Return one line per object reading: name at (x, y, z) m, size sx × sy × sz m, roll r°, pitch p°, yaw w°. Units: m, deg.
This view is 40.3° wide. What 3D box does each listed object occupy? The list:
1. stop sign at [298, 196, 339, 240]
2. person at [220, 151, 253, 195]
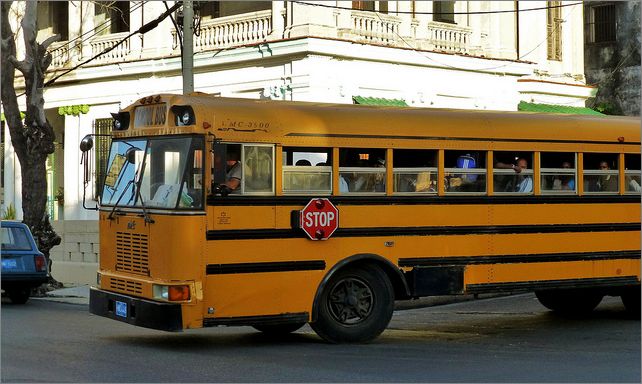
stop sign at (-0.070, 0.532, 17.473) m, size 0.896 × 0.807 × 0.164 m, roll 2°, pitch 2°, yaw -14°
person at (-1.569, -0.325, 17.249) m, size 0.679 × 1.158 × 0.895 m, roll -1°, pitch -1°, yaw -12°
